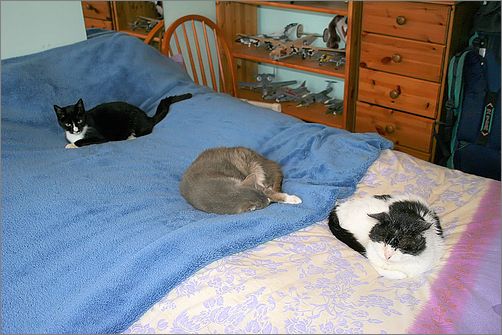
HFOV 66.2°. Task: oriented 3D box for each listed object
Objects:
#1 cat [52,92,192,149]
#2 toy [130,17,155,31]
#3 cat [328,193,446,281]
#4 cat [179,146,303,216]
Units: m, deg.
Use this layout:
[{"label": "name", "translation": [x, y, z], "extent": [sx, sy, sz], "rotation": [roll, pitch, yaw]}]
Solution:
[{"label": "cat", "translation": [-0.670, -0.279, 2.081], "extent": [0.637, 0.216, 0.200], "rotation": [-15, 23, -25]}, {"label": "toy", "translation": [-0.806, -1.099, 2.917], "extent": [0.097, 0.059, 0.153], "rotation": [32, 37, 26]}, {"label": "cat", "translation": [0.556, 0.250, 1.520], "extent": [0.405, 0.173, 0.383], "rotation": [-10, 24, -22]}, {"label": "cat", "translation": [-0.075, 0.079, 1.723], "extent": [0.406, 0.137, 0.306], "rotation": [17, 45, 21]}]
